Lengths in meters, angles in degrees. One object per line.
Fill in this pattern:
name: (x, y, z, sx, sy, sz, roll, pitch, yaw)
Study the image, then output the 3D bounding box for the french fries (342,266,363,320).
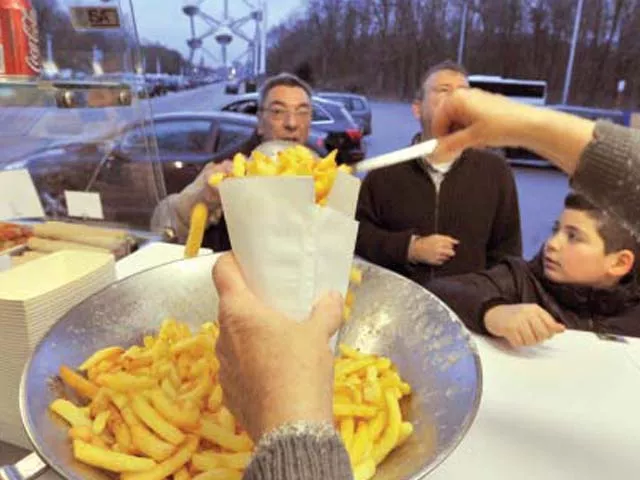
french fries: (0.087, 0.145, 1.360, 0.066, 0.125, 0.026, 7, -7, 22)

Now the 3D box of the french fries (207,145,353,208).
french fries: (-0.069, -0.144, 1.312, 0.235, 0.120, 0.244, -4, -9, -16)
